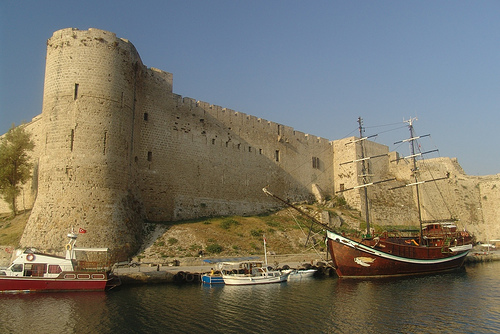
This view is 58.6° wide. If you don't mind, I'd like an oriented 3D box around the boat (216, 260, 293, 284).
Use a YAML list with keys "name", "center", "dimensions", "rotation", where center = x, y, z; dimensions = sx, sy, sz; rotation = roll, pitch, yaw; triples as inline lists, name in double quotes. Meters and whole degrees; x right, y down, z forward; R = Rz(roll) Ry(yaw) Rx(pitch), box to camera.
- name: "boat"
  center: [0.912, 6.963, 29.553]
  dimensions: [4.032, 1.331, 2.053]
  rotation: [-7, -1, 16]

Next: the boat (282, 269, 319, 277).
- name: "boat"
  center: [3.537, 7.175, 30.375]
  dimensions: [2.939, 0.581, 0.773]
  rotation: [1, -8, -4]

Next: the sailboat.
- name: "sailboat"
  center: [9.410, 2.302, 32.779]
  dimensions: [18.220, 11.327, 4.806]
  rotation: [5, -8, -31]
